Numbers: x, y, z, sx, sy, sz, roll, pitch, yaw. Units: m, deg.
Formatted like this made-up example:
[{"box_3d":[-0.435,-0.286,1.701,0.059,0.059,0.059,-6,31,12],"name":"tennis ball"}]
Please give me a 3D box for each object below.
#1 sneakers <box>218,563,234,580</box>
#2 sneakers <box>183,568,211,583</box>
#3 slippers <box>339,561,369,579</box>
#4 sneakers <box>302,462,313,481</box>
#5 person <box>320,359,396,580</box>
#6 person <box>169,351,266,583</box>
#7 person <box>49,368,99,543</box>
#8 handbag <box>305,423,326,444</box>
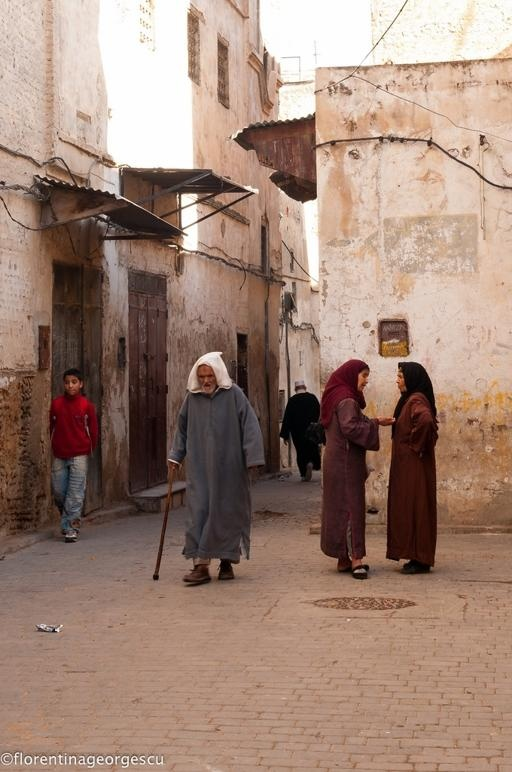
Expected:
[{"box_3d":[-0.216,1.336,6.719,0.117,0.120,0.188,-1,-2,0],"name":"sneakers"},{"box_3d":[-0.416,1.343,6.591,0.074,0.124,0.233,-4,-12,27],"name":"sneakers"},{"box_3d":[0.697,1.315,6.658,0.091,0.130,0.270,3,-9,-28],"name":"slippers"},{"box_3d":[0.941,1.564,16.843,0.114,0.430,0.164,3,0,2],"name":"sneakers"},{"box_3d":[0.693,0.589,6.707,0.479,1.551,0.366,-1,-1,12],"name":"person"},{"box_3d":[-0.293,0.579,6.708,0.662,1.634,0.606,-1,-1,-6],"name":"person"},{"box_3d":[-1.812,0.667,9.236,0.473,1.679,0.549,0,-1,-15],"name":"person"},{"box_3d":[0.437,0.353,6.887,0.105,0.182,0.065,1,-6,-9],"name":"handbag"}]
